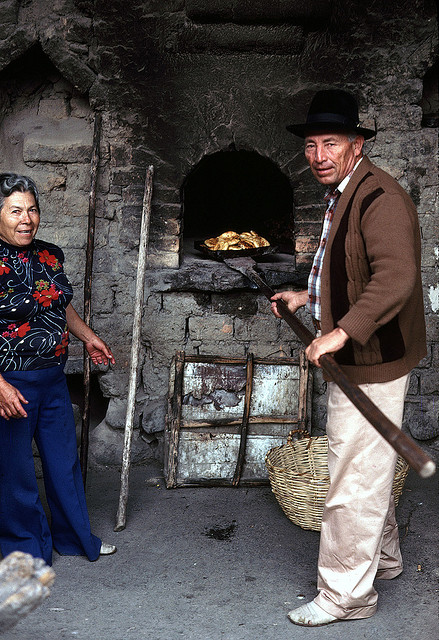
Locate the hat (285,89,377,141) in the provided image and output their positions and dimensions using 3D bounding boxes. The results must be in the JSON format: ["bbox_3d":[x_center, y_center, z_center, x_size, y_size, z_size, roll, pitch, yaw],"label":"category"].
[{"bbox_3d":[0.441,-0.805,2.628,0.314,0.117,0.316,-4,16,-39],"label":"hat"}]

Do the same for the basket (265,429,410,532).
[{"bbox_3d":[0.510,0.820,3.517,0.569,0.372,0.884,-2,10,-10],"label":"basket"}]

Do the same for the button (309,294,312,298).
[{"bbox_3d":[0.378,-0.100,2.835,0.003,0.012,0.017,-7,12,-28],"label":"button"}]

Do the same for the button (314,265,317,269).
[{"bbox_3d":[0.389,-0.214,2.763,0.003,0.011,0.017,-7,12,-27],"label":"button"}]

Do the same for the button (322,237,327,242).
[{"bbox_3d":[0.417,-0.321,2.706,0.014,0.015,0.023,2,10,5],"label":"button"}]
